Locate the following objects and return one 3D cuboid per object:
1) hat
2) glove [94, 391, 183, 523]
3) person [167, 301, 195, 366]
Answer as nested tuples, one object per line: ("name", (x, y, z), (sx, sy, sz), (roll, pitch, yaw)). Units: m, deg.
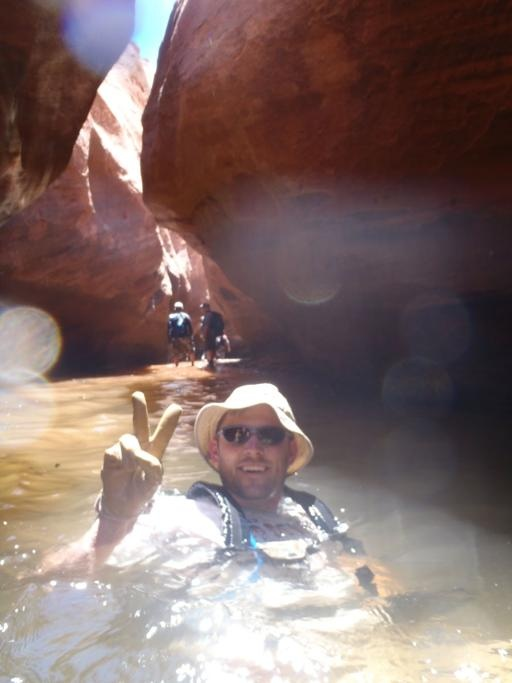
("hat", (-0.017, 0.353, 2.323), (0.408, 0.214, 0.376), (-4, -6, -2))
("glove", (-0.392, 0.393, 1.930), (0.264, 0.422, 0.367), (2, 4, -8))
("person", (-1.382, -0.148, 10.554), (0.448, 1.285, 0.395), (-10, 26, -17))
